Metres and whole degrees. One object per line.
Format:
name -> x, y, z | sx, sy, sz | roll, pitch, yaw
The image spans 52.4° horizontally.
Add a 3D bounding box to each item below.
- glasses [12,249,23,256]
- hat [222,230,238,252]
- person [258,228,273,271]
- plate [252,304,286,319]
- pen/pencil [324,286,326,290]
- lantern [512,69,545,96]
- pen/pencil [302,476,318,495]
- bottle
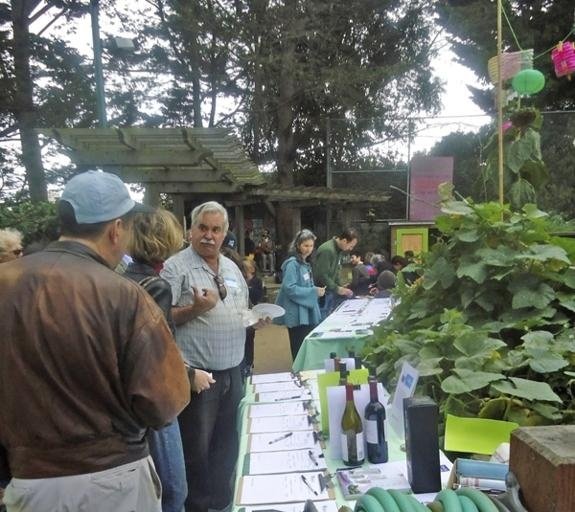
glasses -> -1.886, -0.032, 4.051 | 0.033, 0.044, 0.042 | 12, -28, 10
hat -> -0.480, -0.138, 4.967 | 0.099, 0.093, 0.149 | 22, 22, 18
person -> -0.524, -0.117, 14.332 | 0.312, 1.134, 0.363 | -4, -19, -4
plate -> -0.106, 0.308, 3.353 | 0.159, 0.094, 0.043 | 2, 6, -5
pen/pencil -> 0.384, 0.313, 5.887 | 0.024, 0.027, 0.008 | -2, -29, 0
lantern -> 1.239, -0.931, 3.034 | 0.128, 0.095, 0.159 | 1, 0, -2
pen/pencil -> 0.076, 0.825, 2.118 | 0.018, 0.009, 0.138 | -1, 3, -11
bottle -> 0.273, 0.620, 2.288 | 0.230, 0.335, 0.221 | -1, 4, 0
